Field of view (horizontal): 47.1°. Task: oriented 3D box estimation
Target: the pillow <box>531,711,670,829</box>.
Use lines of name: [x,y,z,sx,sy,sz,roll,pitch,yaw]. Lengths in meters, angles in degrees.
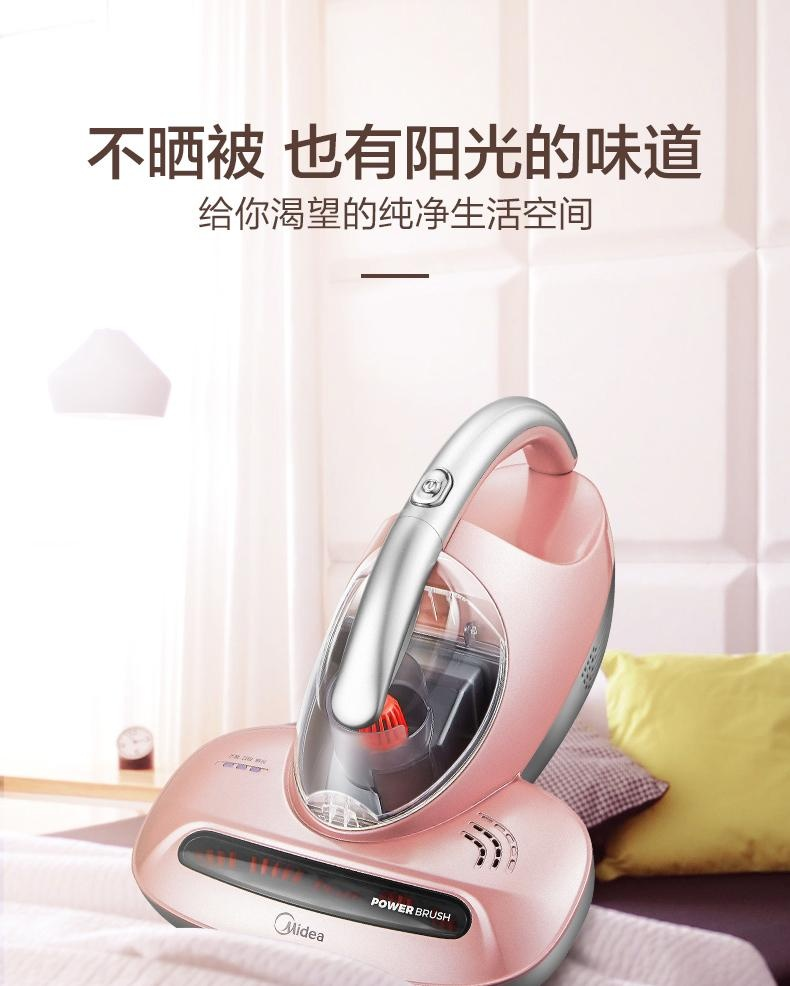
pillow: [0.224,0.306,1.011,0.112,0.033,0.110,-10,20,-3]
